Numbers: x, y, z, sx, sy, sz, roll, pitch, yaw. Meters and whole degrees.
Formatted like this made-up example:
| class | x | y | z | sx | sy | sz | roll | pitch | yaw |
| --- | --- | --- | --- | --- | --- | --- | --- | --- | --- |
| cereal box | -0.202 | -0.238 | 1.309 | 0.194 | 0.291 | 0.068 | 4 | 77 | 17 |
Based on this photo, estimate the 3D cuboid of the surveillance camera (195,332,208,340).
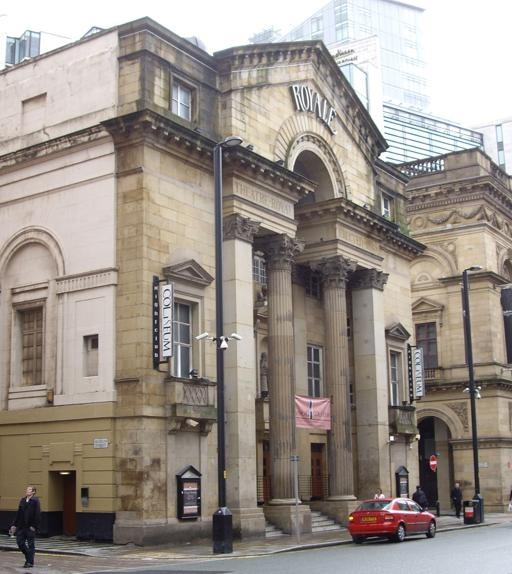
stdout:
| class | x | y | z | sx | sy | sz | roll | pitch | yaw |
| --- | --- | --- | --- | --- | --- | --- | --- | --- | --- |
| surveillance camera | -1.735 | 1.526 | 26.792 | 0.302 | 0.087 | 0.322 | -19 | 0 | -15 |

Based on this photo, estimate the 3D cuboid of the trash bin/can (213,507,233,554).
| class | x | y | z | sx | sy | sz | roll | pitch | yaw |
| --- | --- | --- | --- | --- | --- | --- | --- | --- | --- |
| trash bin/can | -0.878 | 6.339 | 22.360 | 0.444 | 1.155 | 0.415 | -1 | -14 | -11 |

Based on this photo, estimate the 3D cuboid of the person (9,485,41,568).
| class | x | y | z | sx | sy | sz | roll | pitch | yaw |
| --- | --- | --- | --- | --- | --- | --- | --- | --- | --- |
| person | -5.162 | 5.421 | 19.344 | 0.540 | 1.762 | 0.664 | 8 | -18 | -38 |

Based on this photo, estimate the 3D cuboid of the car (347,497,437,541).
| class | x | y | z | sx | sy | sz | roll | pitch | yaw |
| --- | --- | --- | --- | --- | --- | --- | --- | --- | --- |
| car | 4.351 | 7.246 | 27.176 | 1.335 | 0.989 | 2.935 | -11 | -14 | 37 |

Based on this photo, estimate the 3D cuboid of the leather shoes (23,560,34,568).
| class | x | y | z | sx | sy | sz | roll | pitch | yaw |
| --- | --- | --- | --- | --- | --- | --- | --- | --- | --- |
| leather shoes | -5.094 | 6.210 | 19.171 | 0.113 | 0.127 | 0.292 | 0 | -20 | -4 |
